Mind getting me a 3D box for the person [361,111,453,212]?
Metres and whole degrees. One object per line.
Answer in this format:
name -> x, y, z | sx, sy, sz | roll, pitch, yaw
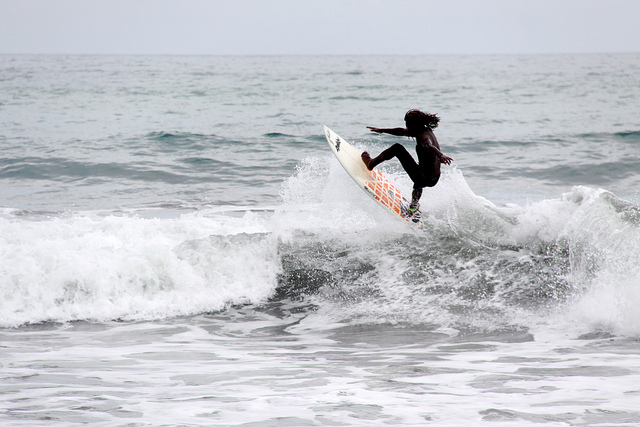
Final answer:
person -> 2.407, -1.282, 25.201 | 1.840, 2.671, 0.598 | 1, 17, 4
